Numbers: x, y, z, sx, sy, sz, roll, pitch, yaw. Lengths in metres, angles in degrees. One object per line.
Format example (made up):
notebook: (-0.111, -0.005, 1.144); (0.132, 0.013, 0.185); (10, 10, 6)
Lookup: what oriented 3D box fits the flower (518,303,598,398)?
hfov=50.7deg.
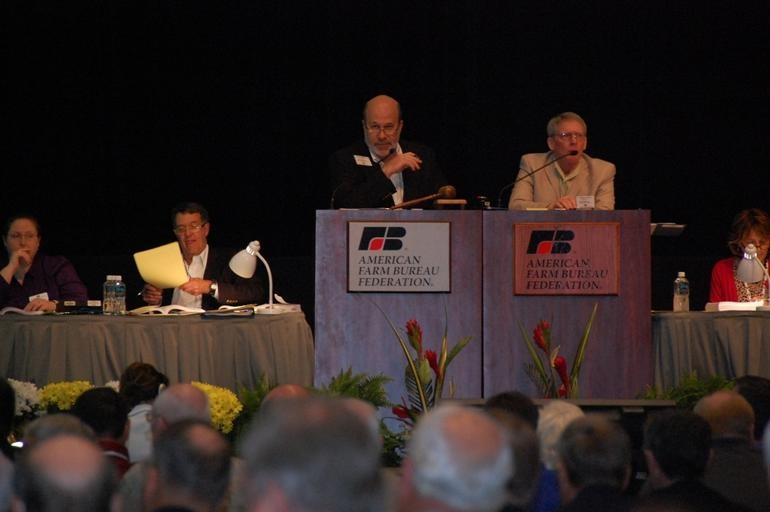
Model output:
flower: (0.986, 0.554, 4.704); (0.529, 0.524, 0.460); (-1, -3, 23)

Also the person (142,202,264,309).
person: (-1.554, 0.242, 6.674); (0.970, 1.317, 0.647); (-3, 4, -10)

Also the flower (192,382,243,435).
flower: (-0.834, 0.770, 4.279); (0.312, 0.231, 0.329); (10, -1, 2)

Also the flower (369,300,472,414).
flower: (0.198, 0.623, 4.575); (0.558, 0.487, 0.452); (6, -5, -32)

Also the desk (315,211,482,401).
desk: (0.043, 0.323, 4.762); (1.109, 1.491, 0.773); (0, -3, -2)
